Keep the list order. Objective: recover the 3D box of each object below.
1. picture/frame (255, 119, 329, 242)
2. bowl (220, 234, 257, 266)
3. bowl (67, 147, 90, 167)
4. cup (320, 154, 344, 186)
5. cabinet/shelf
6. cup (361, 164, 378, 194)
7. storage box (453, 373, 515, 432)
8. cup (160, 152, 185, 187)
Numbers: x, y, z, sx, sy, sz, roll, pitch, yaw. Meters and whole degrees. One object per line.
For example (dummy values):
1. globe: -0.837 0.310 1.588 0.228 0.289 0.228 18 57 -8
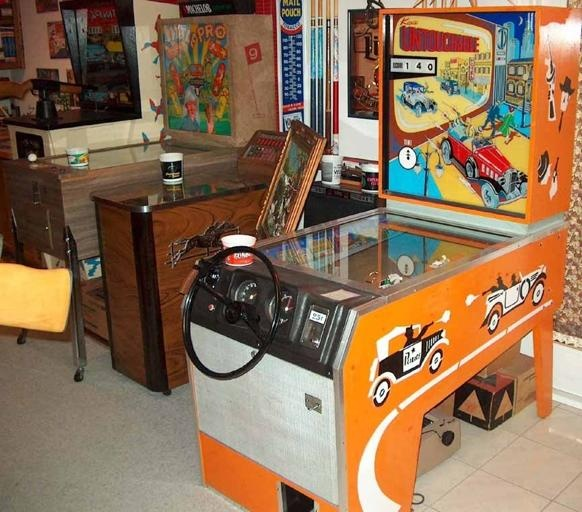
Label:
1. picture/frame: -0.002 -0.365 2.374 0.055 0.557 0.725 14 5 -14
2. bowl: -0.169 -0.020 1.527 0.095 0.066 0.098 1 19 0
3. bowl: -1.184 -0.558 2.653 0.116 0.101 0.134 5 20 21
4. cup: 0.250 -0.508 2.825 0.172 0.182 0.143 9 13 22
5. cabinet/shelf: -0.616 0.096 2.776 0.673 0.996 0.876 14 22 40
6. cup: 0.436 -0.435 2.602 0.137 0.127 0.108 5 13 25
7. storage box: 0.941 0.683 2.240 0.254 0.212 0.254 3 -1 -44
8. cup: -0.667 -0.505 2.659 0.127 0.144 0.124 0 22 0
